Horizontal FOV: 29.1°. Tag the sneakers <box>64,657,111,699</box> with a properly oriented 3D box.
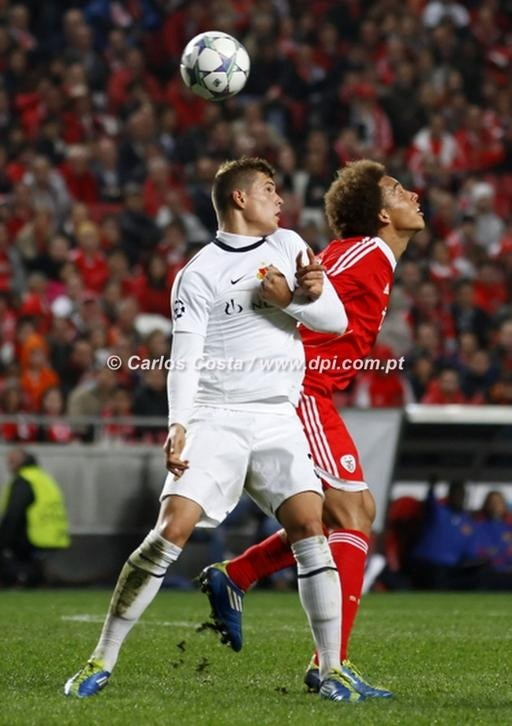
[{"bbox_3d":[-0.557,1.051,3.308,0.072,0.070,0.164,31,4,9],"label":"sneakers"}]

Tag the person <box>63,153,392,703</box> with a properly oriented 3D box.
[{"bbox_3d":[-0.043,0.193,3.442,0.918,1.737,1.046,4,16,12],"label":"person"}]

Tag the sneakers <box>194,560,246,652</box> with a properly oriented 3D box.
[{"bbox_3d":[-0.125,0.918,3.846,0.215,0.358,0.132,-14,8,-2],"label":"sneakers"}]

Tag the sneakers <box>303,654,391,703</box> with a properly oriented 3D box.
[{"bbox_3d":[0.273,1.112,3.457,0.359,0.124,0.115,7,-5,24],"label":"sneakers"}]

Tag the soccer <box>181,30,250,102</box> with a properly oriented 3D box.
[{"bbox_3d":[-0.209,-1.453,4.910,0.436,0.349,0.373,3,9,-4],"label":"soccer"}]
